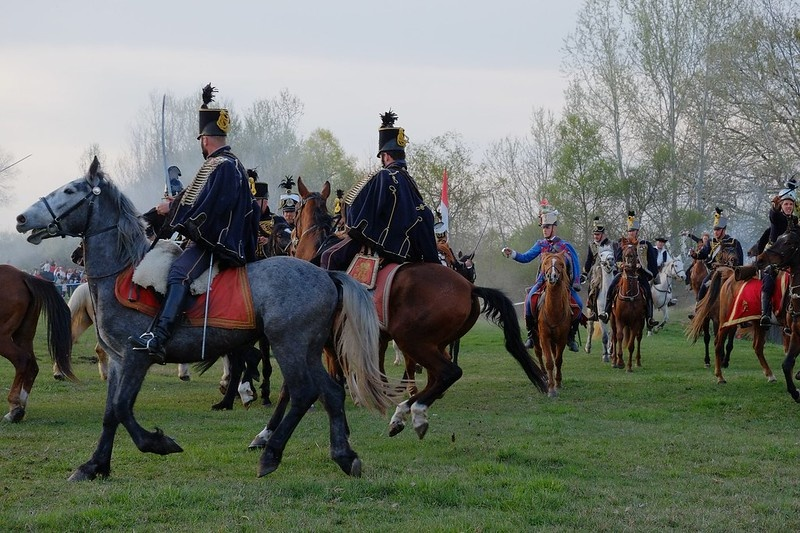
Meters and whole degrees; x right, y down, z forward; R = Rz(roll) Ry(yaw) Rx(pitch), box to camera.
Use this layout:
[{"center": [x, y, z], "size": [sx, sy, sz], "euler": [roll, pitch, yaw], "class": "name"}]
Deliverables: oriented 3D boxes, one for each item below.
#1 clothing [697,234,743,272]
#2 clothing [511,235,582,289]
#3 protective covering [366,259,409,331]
[{"center": [8.696, -0.373, 32.938], "size": [0.997, 0.714, 1.779], "euler": [19, 8, -10], "class": "clothing"}, {"center": [3.428, -0.329, 27.711], "size": [1.159, 1.386, 0.760], "euler": [-2, -16, 12], "class": "clothing"}, {"center": [-0.278, 0.506, 21.827], "size": [0.284, 0.967, 0.735], "euler": [8, -3, -29], "class": "protective covering"}]
